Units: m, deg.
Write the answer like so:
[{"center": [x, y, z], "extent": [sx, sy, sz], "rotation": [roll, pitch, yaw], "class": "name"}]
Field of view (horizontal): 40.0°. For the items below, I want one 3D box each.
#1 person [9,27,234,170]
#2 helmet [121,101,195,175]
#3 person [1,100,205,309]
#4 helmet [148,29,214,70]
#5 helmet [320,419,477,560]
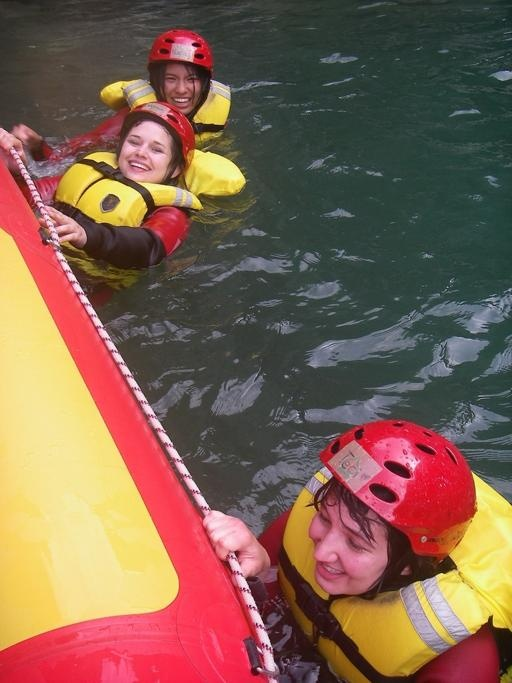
[{"center": [-0.677, -1.454, 4.124], "extent": [1.370, 0.578, 0.743], "rotation": [-28, 66, -28], "class": "person"}, {"center": [-0.468, -0.993, 3.583], "extent": [0.327, 0.355, 0.321], "rotation": [15, 8, 10], "class": "helmet"}, {"center": [-0.542, -0.684, 3.224], "extent": [0.773, 0.522, 1.030], "rotation": [39, 46, 14], "class": "person"}, {"center": [-0.426, -1.657, 4.065], "extent": [0.260, 0.204, 0.281], "rotation": [8, 41, 2], "class": "helmet"}, {"center": [0.342, 0.347, 1.666], "extent": [0.319, 0.258, 0.290], "rotation": [-11, 35, -24], "class": "helmet"}]
